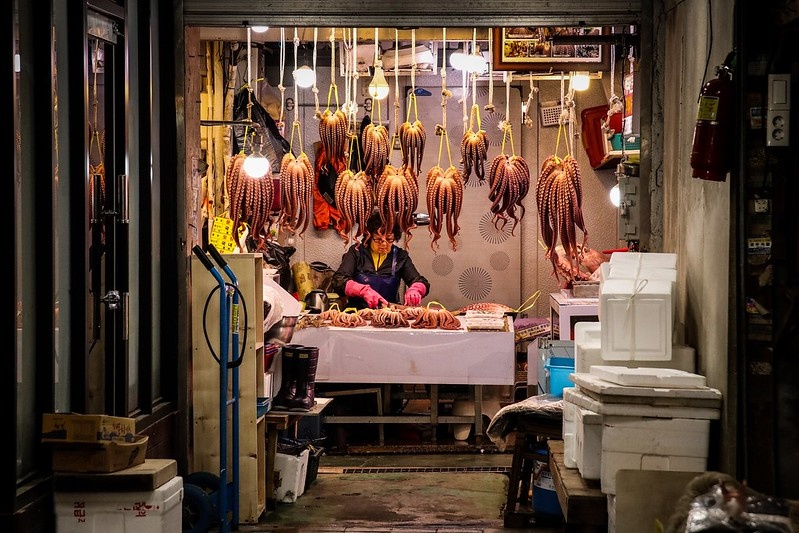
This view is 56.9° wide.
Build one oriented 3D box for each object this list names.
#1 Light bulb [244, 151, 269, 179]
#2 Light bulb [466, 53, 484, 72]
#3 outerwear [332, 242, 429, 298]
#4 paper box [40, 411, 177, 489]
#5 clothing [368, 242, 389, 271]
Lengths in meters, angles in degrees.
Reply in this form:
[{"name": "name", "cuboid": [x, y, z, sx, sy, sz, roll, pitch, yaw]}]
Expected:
[{"name": "Light bulb", "cuboid": [-1.086, -0.773, 5.658, 0.176, 0.258, 0.185, -1, -1, 13]}, {"name": "Light bulb", "cuboid": [0.624, -1.685, 6.090, 0.154, 0.133, 0.172, 0, -6, -1]}, {"name": "outerwear", "cuboid": [-0.254, 0.007, 8.033, 0.825, 0.566, 0.621, 5, 2, -15]}, {"name": "paper box", "cuboid": [-1.493, 0.964, 3.806, 0.554, 0.280, 0.328, 16, -20, -31]}, {"name": "clothing", "cuboid": [-0.228, -0.117, 7.940, 0.201, 0.280, 0.296, 5, -18, -3]}]
